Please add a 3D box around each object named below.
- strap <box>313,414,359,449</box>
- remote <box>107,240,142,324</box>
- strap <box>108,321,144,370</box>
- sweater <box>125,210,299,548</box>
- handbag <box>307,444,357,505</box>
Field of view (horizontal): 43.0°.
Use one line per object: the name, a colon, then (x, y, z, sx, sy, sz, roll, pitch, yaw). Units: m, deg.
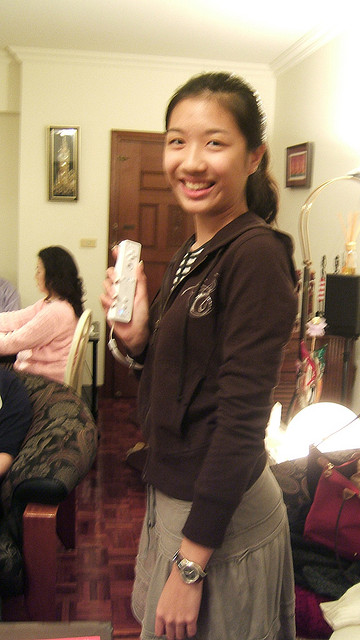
strap: (0.625, 0.451, 1.816, 0.274, 0.041, 0.051, -33, -19, -11)
remote: (-0.084, -0.053, 0.699, 0.039, 0.178, 0.035, 11, -38, -9)
strap: (-0.083, 0.042, 0.718, 0.052, 0.073, 0.021, 10, -7, -14)
sweater: (0.033, 0.061, 0.533, 0.189, 0.345, 0.143, 6, 4, 22)
handbag: (0.523, 0.557, 1.611, 0.131, 0.169, 0.183, 6, -32, 12)
